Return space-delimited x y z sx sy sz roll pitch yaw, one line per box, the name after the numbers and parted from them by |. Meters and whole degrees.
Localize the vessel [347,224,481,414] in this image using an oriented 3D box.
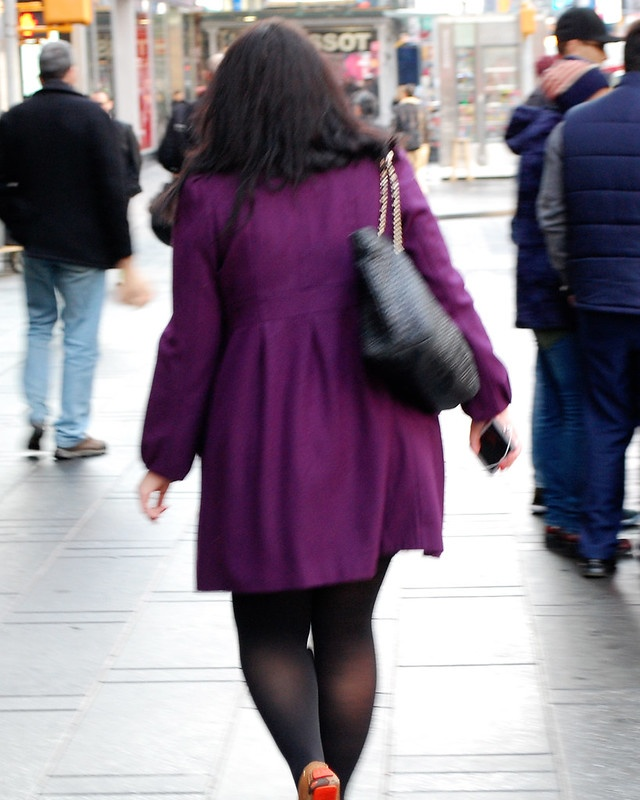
0.130 -0.113 1.297 0.117 0.219 0.224 -25 56 10 | vessel

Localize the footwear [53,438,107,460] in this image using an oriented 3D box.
-1.389 0.292 5.201 0.335 0.148 0.116 -9 20 -11 | footwear
